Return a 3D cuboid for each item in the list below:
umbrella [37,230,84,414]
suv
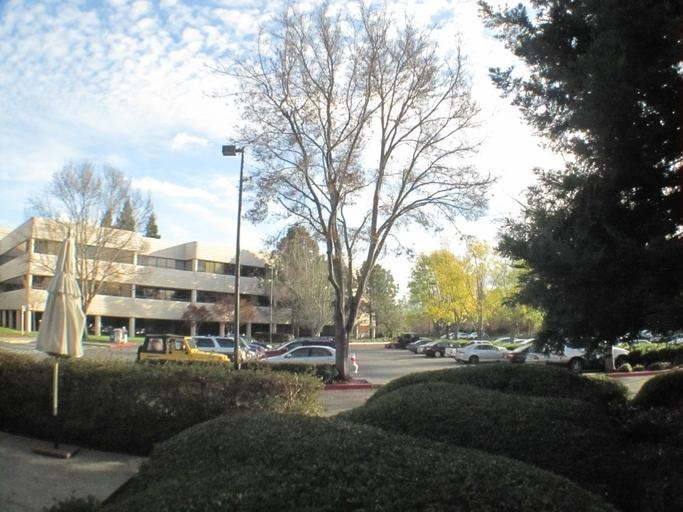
[{"bbox_3d":[-6.066,1.417,15.623,0.940,4.065,1.896,3,-11,-20],"label":"umbrella"},{"bbox_3d":[-5.206,2.963,22.642,2.512,1.600,1.507,-1,-6,-7],"label":"suv"}]
